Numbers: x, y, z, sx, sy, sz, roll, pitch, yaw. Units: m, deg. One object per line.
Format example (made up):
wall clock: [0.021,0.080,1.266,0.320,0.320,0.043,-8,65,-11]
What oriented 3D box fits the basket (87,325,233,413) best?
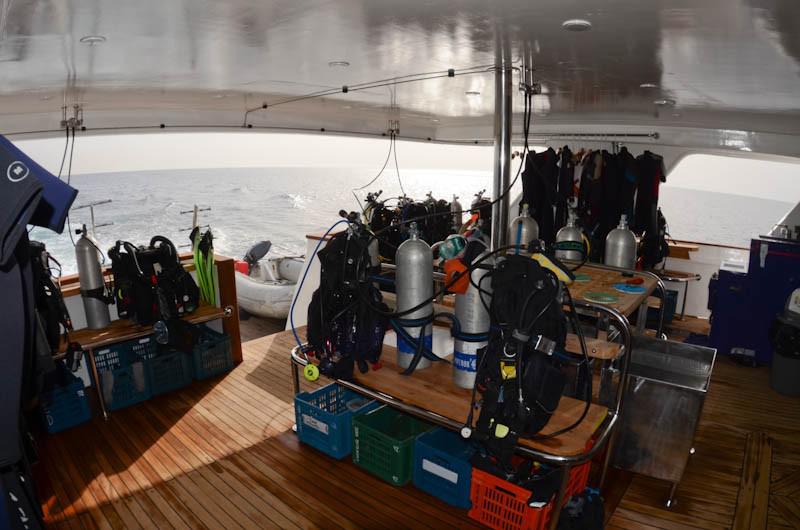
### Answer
basket: [-2.178,0.886,4.896,0.610,0.360,0.966,11,17,43]

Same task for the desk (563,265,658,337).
desk: [1.698,0.196,4.212,0.829,0.344,0.620,15,30,34]

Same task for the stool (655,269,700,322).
stool: [3.361,0.343,6.414,0.583,0.448,0.619,-6,11,-37]

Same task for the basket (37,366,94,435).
basket: [-2.812,1.134,4.470,0.337,0.482,0.243,-2,13,-16]
